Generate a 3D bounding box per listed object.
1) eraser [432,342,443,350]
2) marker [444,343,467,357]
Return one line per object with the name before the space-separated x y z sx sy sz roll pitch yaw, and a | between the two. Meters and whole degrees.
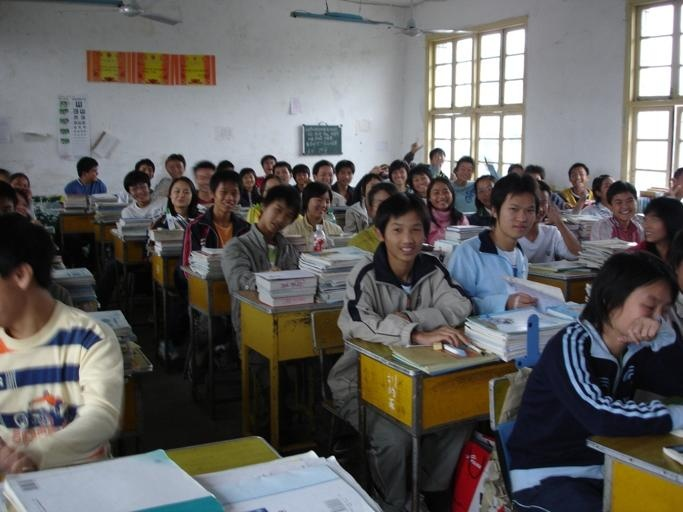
eraser | 0.344 0.319 1.826 0.030 0.022 0.023 0 4 12
marker | 0.401 0.321 1.790 0.028 0.026 0.107 -14 9 -19
